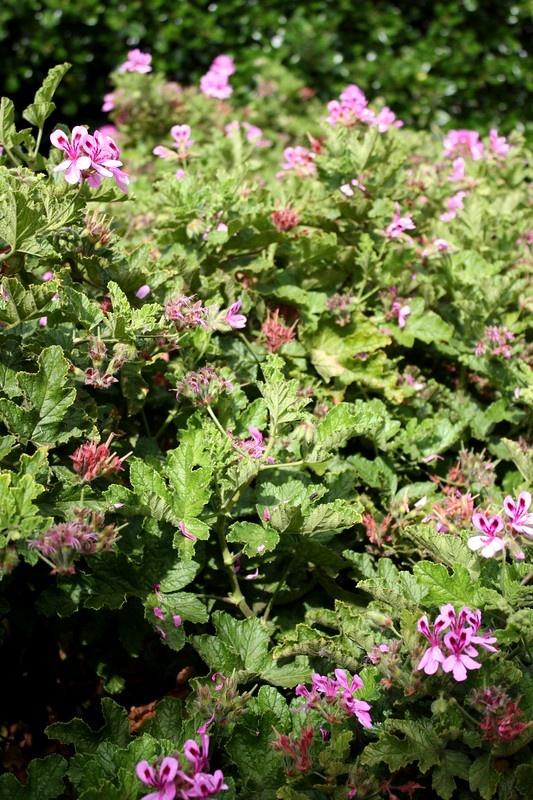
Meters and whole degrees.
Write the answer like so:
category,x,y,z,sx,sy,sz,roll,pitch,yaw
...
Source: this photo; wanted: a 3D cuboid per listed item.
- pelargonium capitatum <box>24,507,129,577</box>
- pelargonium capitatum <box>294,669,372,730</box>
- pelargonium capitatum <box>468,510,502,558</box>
category,x,y,z,sx,sy,sz,roll,pitch,yaw
pelargonium capitatum,-0.318,0.221,1.388,0.129,0.094,0.128,-9,7,-42
pelargonium capitatum,0.122,0.512,1.454,0.133,0.057,0.129,27,-1,-15
pelargonium capitatum,0.399,0.243,1.499,0.062,0.069,0.060,11,23,16
